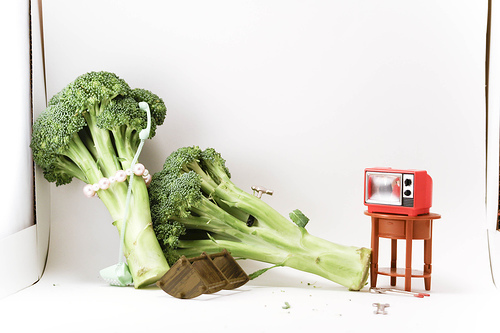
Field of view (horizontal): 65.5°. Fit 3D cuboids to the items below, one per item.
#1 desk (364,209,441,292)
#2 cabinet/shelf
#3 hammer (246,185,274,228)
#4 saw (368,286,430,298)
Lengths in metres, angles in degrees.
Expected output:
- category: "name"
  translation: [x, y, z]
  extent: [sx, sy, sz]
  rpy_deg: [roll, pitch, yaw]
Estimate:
- category: "desk"
  translation: [1.351, 0.653, 3.457]
  extent: [0.570, 0.738, 0.580]
  rpy_deg: [0, -3, 30]
- category: "cabinet/shelf"
  translation: [-0.357, 0.849, 3.328]
  extent: [0.810, 0.331, 0.521]
  rpy_deg: [-6, 3, 5]
- category: "hammer"
  translation: [0.089, 0.384, 3.613]
  extent: [0.202, 0.365, 0.121]
  rpy_deg: [25, -35, 5]
- category: "saw"
  translation: [1.218, 1.041, 3.216]
  extent: [0.408, 0.041, 0.149]
  rpy_deg: [0, 1, 28]
